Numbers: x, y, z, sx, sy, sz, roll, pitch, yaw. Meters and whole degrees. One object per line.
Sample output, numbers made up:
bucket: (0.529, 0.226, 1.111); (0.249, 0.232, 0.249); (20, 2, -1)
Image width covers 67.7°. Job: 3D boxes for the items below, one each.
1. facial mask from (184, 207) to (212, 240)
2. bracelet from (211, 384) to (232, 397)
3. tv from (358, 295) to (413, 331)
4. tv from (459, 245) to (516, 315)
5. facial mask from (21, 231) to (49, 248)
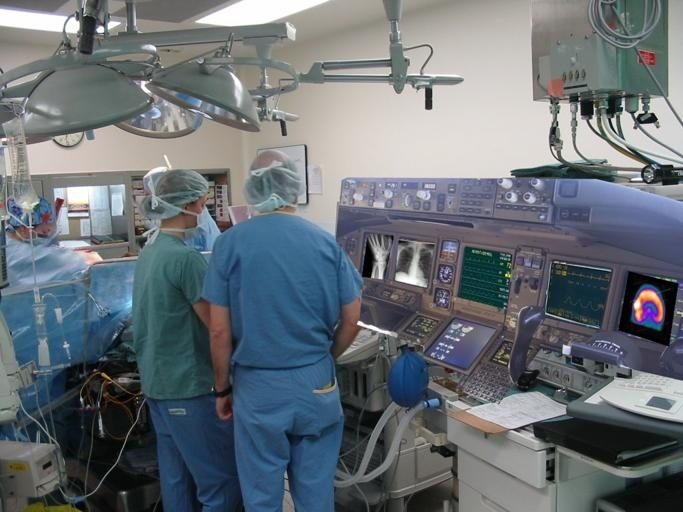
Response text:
facial mask: (-0.710, -0.159, 2.582); (0.145, 0.162, 0.136); (11, 2, 24)
bracelet: (-0.489, 0.551, 2.084); (0.055, 0.021, 0.052); (-1, 5, 40)
tv: (0.230, 0.310, 2.739); (0.276, 0.154, 0.066); (15, -18, 47)
tv: (0.672, 0.108, 2.314); (0.020, 0.281, 0.266); (1, 10, -41)
facial mask: (-1.778, -0.095, 2.952); (0.130, 0.096, 0.166); (1, -11, -26)
